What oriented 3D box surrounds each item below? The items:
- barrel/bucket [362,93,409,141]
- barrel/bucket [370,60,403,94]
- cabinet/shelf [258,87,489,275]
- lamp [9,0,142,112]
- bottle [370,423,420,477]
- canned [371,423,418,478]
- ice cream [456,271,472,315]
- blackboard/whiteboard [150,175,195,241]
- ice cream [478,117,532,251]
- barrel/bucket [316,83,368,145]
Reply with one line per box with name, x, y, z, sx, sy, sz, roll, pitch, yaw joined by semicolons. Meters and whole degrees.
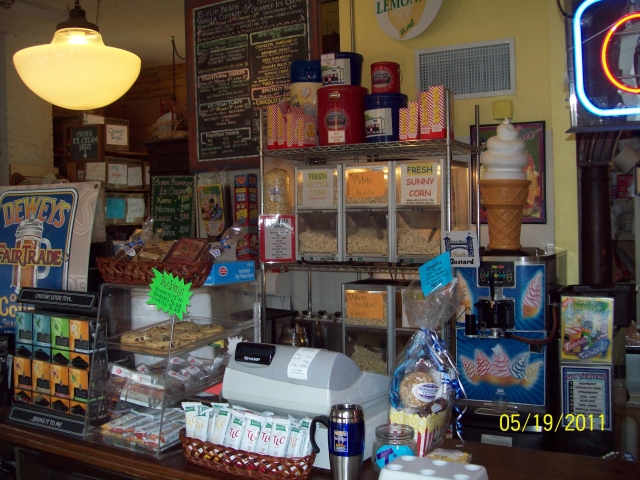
barrel/bucket;0.355;-0.696;3.012;0.238;0.284;0.249;0;-1;0
barrel/bucket;0.390;-0.932;3.120;0.201;0.203;0.194;0;10;0
cabinet/shelf;0.309;-0.333;3.060;1.047;0.956;0.391;3;5;24
lamp;-1.398;-1.121;3.317;0.636;0.890;0.635;-2;-1;-2
bottle;0.219;0.607;1.580;0.126;0.145;0.134;0;-5;6
canned;0.225;0.632;1.596;0.128;0.142;0.074;1;0;6
ice cream;0.709;0.261;2.614;0.044;0.183;0.135;-8;5;-24
blackboard/whiteboard;-1.145;-0.253;4.186;0.495;0.709;0.078;1;3;29
ice cream;0.932;-0.282;2.679;0.238;0.613;0.173;1;0;22
barrel/bucket;0.147;-0.733;3.177;0.304;0.338;0.296;1;3;0
